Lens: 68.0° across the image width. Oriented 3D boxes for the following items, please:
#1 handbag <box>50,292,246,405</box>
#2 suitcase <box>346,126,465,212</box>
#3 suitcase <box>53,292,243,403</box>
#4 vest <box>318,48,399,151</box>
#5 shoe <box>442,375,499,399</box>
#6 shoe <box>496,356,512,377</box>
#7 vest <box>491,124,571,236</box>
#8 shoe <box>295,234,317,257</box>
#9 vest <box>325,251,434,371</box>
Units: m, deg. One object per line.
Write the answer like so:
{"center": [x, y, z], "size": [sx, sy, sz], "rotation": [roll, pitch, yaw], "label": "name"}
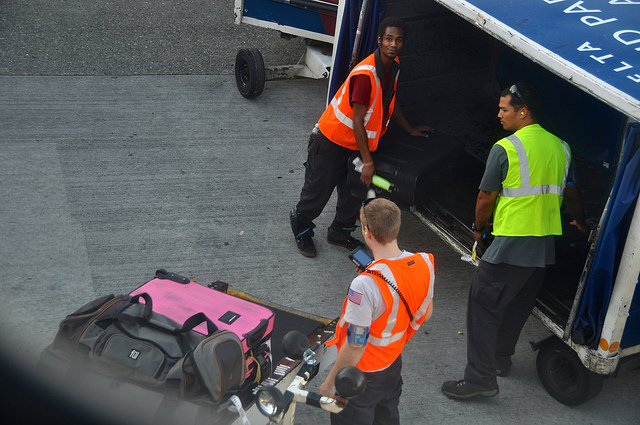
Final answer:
{"center": [-0.994, 0.825, 2.788], "size": [0.937, 0.412, 0.605], "rotation": [18, 30, 11], "label": "handbag"}
{"center": [0.856, -0.503, 4.759], "size": [1.075, 0.521, 0.837], "rotation": [23, 55, 36], "label": "suitcase"}
{"center": [-0.968, 0.798, 2.811], "size": [1.181, 0.415, 0.463], "rotation": [18, 45, 16], "label": "suitcase"}
{"center": [0.348, -1.120, 4.654], "size": [0.654, 0.877, 0.568], "rotation": [16, 45, 14], "label": "vest"}
{"center": [1.248, 1.450, 4.035], "size": [0.484, 0.228, 0.188], "rotation": [5, 34, 9], "label": "shoe"}
{"center": [1.590, 1.329, 4.118], "size": [0.134, 0.184, 0.104], "rotation": [22, 51, 23], "label": "shoe"}
{"center": [1.599, -0.226, 3.798], "size": [0.484, 0.944, 0.943], "rotation": [0, -2, -6], "label": "vest"}
{"center": [-0.141, 0.352, 5.139], "size": [0.190, 0.181, 0.222], "rotation": [-13, 45, -17], "label": "shoe"}
{"center": [0.395, 0.600, 3.060], "size": [0.636, 0.744, 0.436], "rotation": [-8, 24, -33], "label": "vest"}
